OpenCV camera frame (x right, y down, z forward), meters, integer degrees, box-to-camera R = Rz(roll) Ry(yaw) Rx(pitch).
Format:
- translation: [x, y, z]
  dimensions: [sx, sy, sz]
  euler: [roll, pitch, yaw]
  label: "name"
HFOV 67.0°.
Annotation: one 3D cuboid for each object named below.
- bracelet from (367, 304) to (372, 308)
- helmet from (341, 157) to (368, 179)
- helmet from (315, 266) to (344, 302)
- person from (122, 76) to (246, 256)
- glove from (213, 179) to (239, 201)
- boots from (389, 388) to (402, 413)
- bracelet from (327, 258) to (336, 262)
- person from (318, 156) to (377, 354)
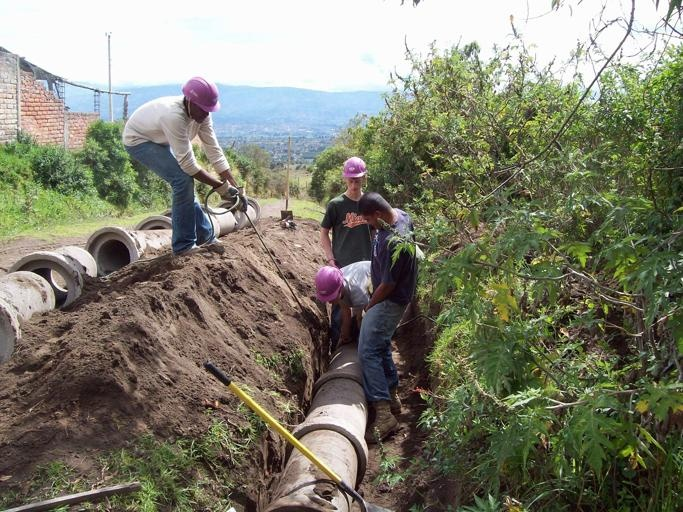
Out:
- translation: [0.297, 0.534, 5.504]
  dimensions: [0.025, 0.034, 0.034]
  euler: [39, 17, -34]
  label: "bracelet"
- translation: [0.157, -1.151, 6.784]
  dimensions: [0.295, 0.277, 0.332]
  euler: [2, 17, -7]
  label: "helmet"
- translation: [-0.133, 0.345, 6.001]
  dimensions: [0.338, 0.404, 0.301]
  euler: [1, 16, -10]
  label: "helmet"
- translation: [-1.855, -1.060, 6.053]
  dimensions: [1.227, 1.990, 0.943]
  euler: [-1, 17, -16]
  label: "person"
- translation: [-1.349, -0.811, 6.072]
  dimensions: [0.196, 0.156, 0.283]
  euler: [-14, 26, -3]
  label: "glove"
- translation: [0.620, 1.662, 5.902]
  dimensions: [0.096, 0.220, 0.304]
  euler: [-1, 21, 6]
  label: "boots"
- translation: [-0.136, 0.063, 6.747]
  dimensions: [0.055, 0.047, 0.059]
  euler: [4, 2, 19]
  label: "bracelet"
- translation: [0.132, 0.058, 7.099]
  dimensions: [0.745, 2.771, 0.728]
  euler: [-6, 16, -21]
  label: "person"
